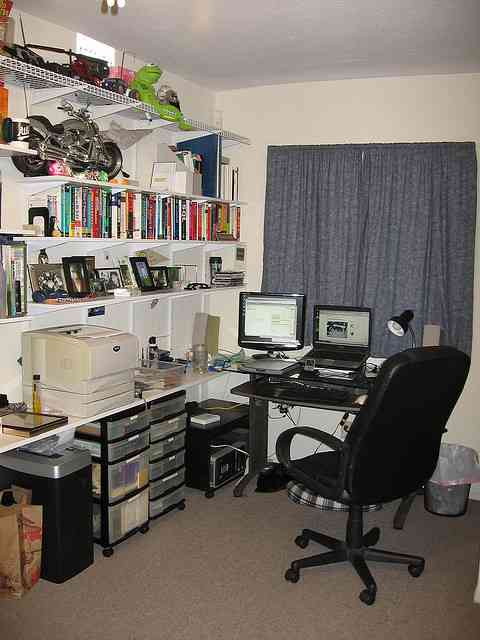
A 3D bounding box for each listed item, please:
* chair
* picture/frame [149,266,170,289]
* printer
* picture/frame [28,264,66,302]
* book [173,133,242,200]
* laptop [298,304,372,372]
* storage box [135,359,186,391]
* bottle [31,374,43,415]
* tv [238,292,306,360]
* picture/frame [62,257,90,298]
[{"bbox_3d":[0.545,0.615,2.291,0.752,1.034,0.718,2,4,17],"label":"chair"},{"bbox_3d":[-0.479,-0.248,3.146,0.015,0.208,0.151,-7,-5,25],"label":"picture/frame"},{"bbox_3d":[-0.758,0.227,2.562,0.419,0.352,0.408,3,5,19],"label":"printer"},{"bbox_3d":[-0.843,-0.169,2.399,0.153,0.171,0.242,3,5,12],"label":"picture/frame"},{"bbox_3d":[-0.223,-0.987,3.416,0.181,0.512,0.544,-10,19,-34],"label":"book"},{"bbox_3d":[0.617,0.054,3.247,0.384,0.334,0.321,3,-8,14],"label":"laptop"},{"bbox_3d":[-0.464,0.314,3.052,0.152,0.061,0.191,4,7,34],"label":"storage box"},{"bbox_3d":[-0.909,0.331,2.401,0.043,0.175,0.107,0,5,-21],"label":"bottle"},{"bbox_3d":[0.210,0.024,3.524,0.466,0.420,0.148,3,4,9],"label":"tv"},{"bbox_3d":[-0.767,-0.195,2.488,0.015,0.189,0.157,-3,18,24],"label":"picture/frame"}]
